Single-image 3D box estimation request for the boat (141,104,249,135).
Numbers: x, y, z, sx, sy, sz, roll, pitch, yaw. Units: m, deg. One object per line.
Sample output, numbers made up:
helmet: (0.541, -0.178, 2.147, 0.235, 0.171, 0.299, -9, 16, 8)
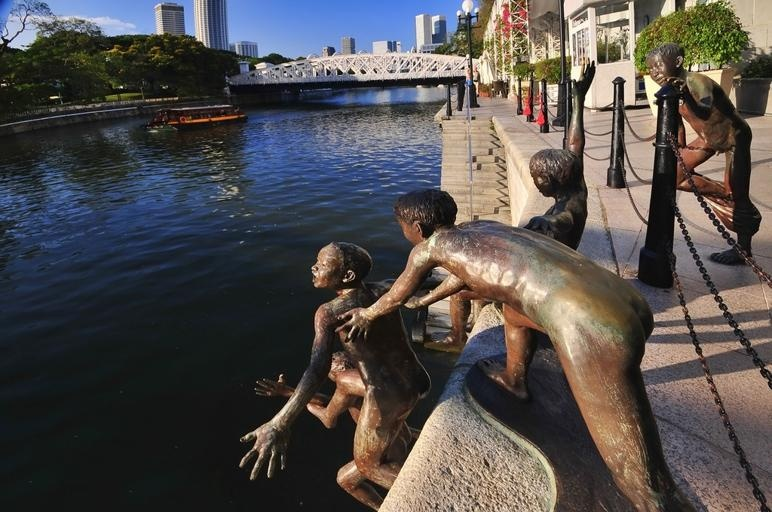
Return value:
boat: (-17.488, -12.503, 42.781, 7.212, 1.850, 3.188, -19, 24, -36)
